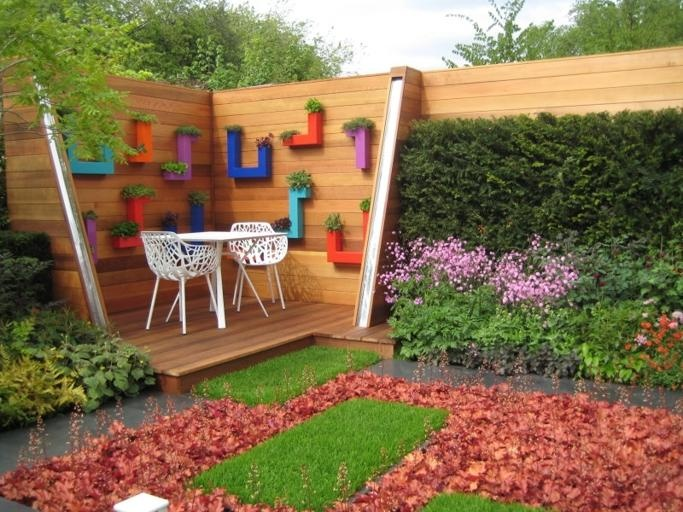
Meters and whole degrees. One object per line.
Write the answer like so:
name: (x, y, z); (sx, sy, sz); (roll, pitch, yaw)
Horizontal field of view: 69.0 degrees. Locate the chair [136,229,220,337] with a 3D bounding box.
chair: (-1.722, 0.266, 5.554); (0.591, 1.179, 0.709); (-18, 24, -42)
